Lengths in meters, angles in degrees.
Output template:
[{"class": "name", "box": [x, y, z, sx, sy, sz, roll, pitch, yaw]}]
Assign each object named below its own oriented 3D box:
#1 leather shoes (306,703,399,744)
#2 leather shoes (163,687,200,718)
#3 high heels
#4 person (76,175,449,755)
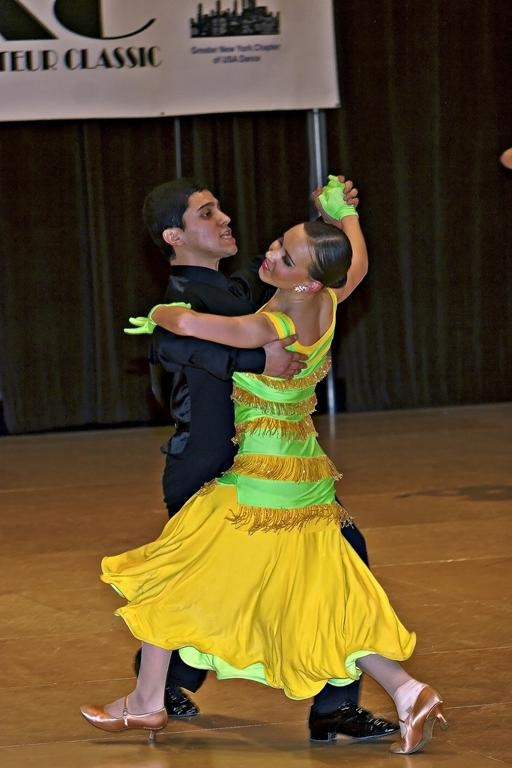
[{"class": "leather shoes", "box": [0.190, 0.709, 1.592, 0.220, 0.077, 0.070, -3, 4, 7]}, {"class": "leather shoes", "box": [-0.184, 0.741, 1.810, 0.044, 0.040, 0.113, -7, 11, -33]}, {"class": "high heels", "box": [0.291, 0.611, 1.384, 0.061, 0.168, 0.109, -4, 5, -7]}, {"class": "person", "box": [-0.005, 0.165, 1.487, 0.669, 0.926, 0.295, -2, 6, 11]}]
